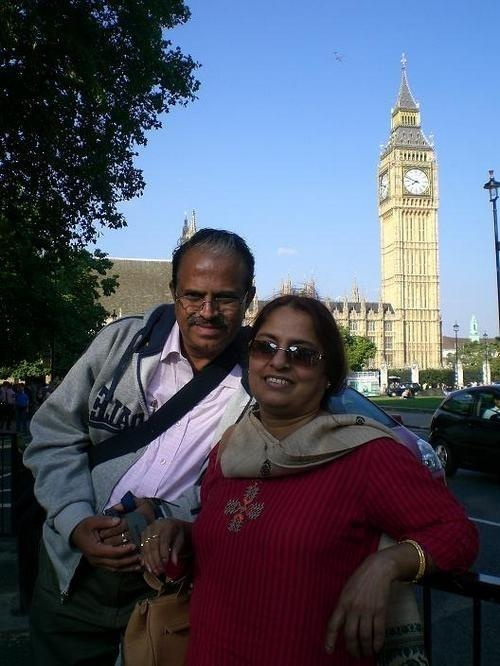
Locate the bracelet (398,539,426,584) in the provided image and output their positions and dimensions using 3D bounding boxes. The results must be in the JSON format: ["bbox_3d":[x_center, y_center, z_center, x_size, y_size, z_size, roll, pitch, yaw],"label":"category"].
[{"bbox_3d":[0.318,0.457,1.195,0.046,0.093,0.056,-1,-2,-1],"label":"bracelet"}]

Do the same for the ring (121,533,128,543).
[{"bbox_3d":[-0.360,0.584,1.713,0.020,0.023,0.009,-2,-5,10],"label":"ring"}]
